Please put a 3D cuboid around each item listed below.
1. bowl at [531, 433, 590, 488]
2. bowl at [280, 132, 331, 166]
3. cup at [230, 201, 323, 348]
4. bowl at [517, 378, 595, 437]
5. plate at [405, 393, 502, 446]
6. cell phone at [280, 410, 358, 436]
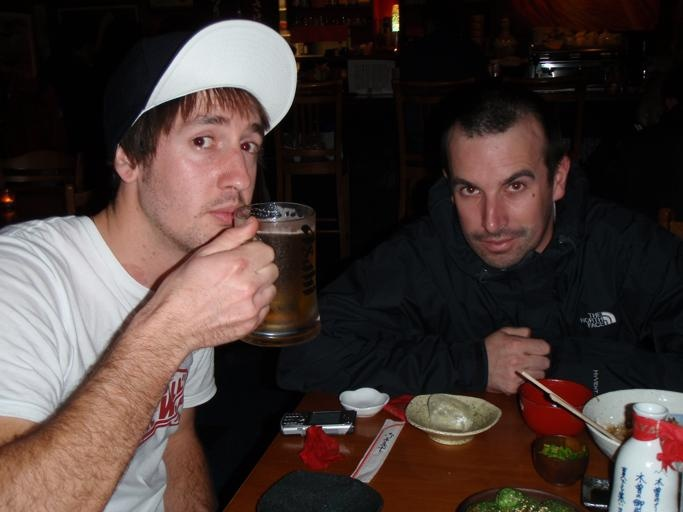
[{"bbox_3d":[0.557,0.524,1.387,0.142,0.082,0.141,-4,10,1],"label":"bowl"},{"bbox_3d":[-0.332,-1.034,5.165,0.429,0.563,0.337,1,14,1],"label":"bowl"},{"bbox_3d":[-0.174,0.078,1.514,0.229,0.452,0.213,-4,14,1],"label":"cup"},{"bbox_3d":[0.616,0.453,1.578,0.214,0.105,0.199,-1,3,0],"label":"bowl"},{"bbox_3d":[0.321,0.468,1.567,0.188,0.044,0.152,-1,11,4],"label":"plate"},{"bbox_3d":[-0.071,0.480,1.591,0.154,0.031,0.086,1,7,2],"label":"cell phone"}]
